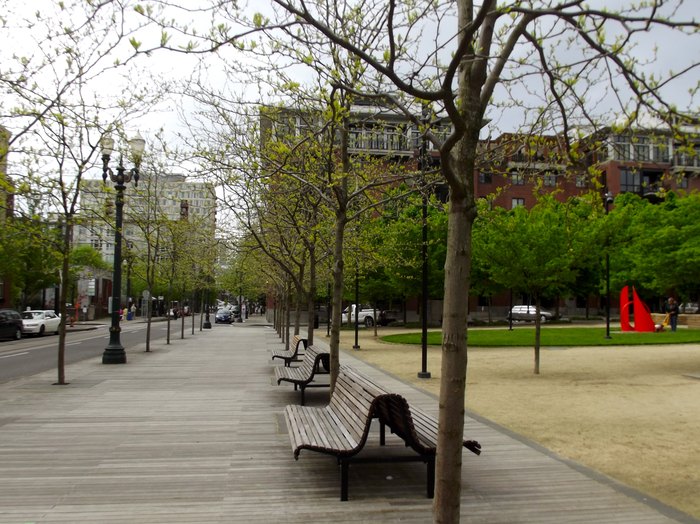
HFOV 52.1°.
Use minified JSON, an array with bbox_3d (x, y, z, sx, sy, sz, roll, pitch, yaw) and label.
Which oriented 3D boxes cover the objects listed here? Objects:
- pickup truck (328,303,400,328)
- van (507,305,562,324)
[{"bbox_3d":[0.938,4.116,53.888,3.282,1.204,1.959,1,-3,35],"label":"pickup truck"},{"bbox_3d":[13.568,3.944,53.281,3.906,1.589,2.167,-2,-3,8],"label":"van"}]
